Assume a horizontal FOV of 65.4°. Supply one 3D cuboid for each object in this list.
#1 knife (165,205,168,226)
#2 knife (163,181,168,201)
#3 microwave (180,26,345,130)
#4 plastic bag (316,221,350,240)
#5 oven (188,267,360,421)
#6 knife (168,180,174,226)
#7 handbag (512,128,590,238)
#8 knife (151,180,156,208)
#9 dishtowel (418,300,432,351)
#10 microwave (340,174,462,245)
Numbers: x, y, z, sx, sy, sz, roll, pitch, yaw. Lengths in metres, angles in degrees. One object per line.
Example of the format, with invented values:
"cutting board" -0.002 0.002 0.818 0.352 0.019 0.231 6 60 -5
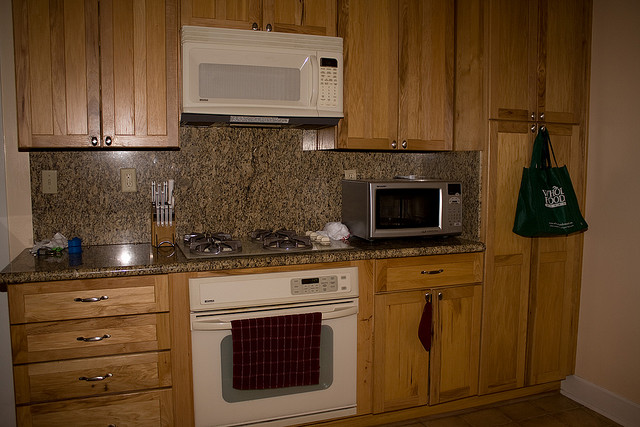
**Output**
"knife" -0.992 0.011 3.225 0.024 0.126 0.006 -5 7 -18
"knife" -1.048 -0.158 3.391 0.029 0.129 0.050 -5 7 -17
"microwave" -0.369 -0.828 3.330 1.043 0.588 0.519 -1 -4 -12
"plastic bag" 0.105 0.108 3.493 0.129 0.069 0.164 -1 2 -40
"oven" -0.308 0.606 3.451 1.223 1.175 0.864 -1 1 -15
"knife" -0.984 -0.078 3.300 0.038 0.287 0.169 -4 7 -15
"handbag" 1.564 -0.223 3.391 0.465 0.721 0.183 -3 7 -7
"knife" -1.123 -0.160 3.379 0.030 0.140 0.052 -5 7 -19
"dishtowel" 0.698 0.734 3.263 0.103 0.328 0.023 15 19 39
"microwave" 0.629 -0.039 3.595 0.669 0.410 0.492 -3 5 -19
